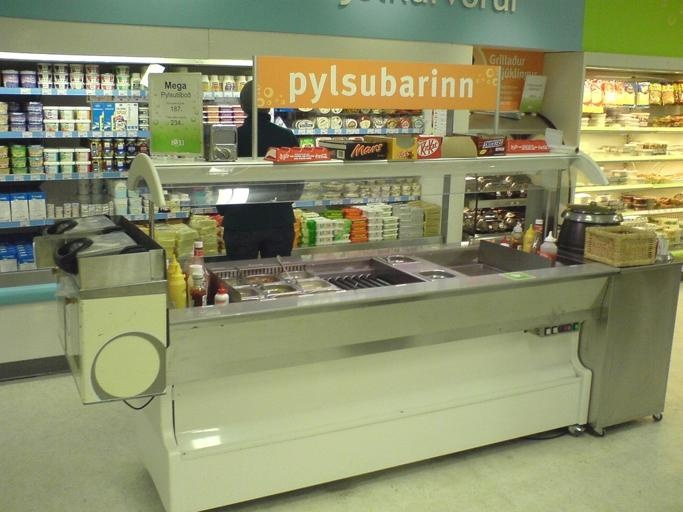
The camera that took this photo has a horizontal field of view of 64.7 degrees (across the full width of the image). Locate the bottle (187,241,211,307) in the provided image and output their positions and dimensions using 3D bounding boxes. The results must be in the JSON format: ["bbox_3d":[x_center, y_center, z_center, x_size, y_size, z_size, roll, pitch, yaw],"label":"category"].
[{"bbox_3d":[-0.812,0.120,3.022,0.128,0.375,0.453,-8,15,-14],"label":"bottle"}]

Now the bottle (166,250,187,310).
[{"bbox_3d":[-0.882,0.146,2.862,0.090,0.258,0.193,-8,16,-14],"label":"bottle"}]
